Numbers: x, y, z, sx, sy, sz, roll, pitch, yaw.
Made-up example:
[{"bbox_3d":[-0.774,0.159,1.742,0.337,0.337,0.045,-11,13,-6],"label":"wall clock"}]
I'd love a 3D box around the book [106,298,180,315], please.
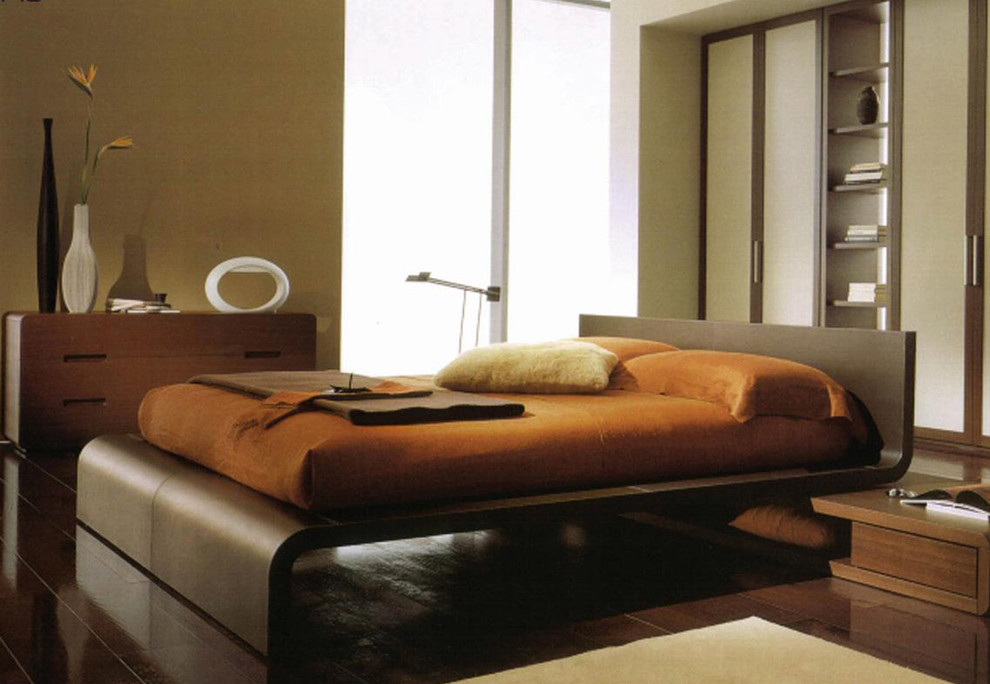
[{"bbox_3d":[-2.306,-0.236,5.367,0.404,0.070,0.539,-2,6,-28],"label":"book"}]

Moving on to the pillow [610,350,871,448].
[{"bbox_3d":[0.980,0.171,3.553,0.523,0.179,0.774,0,3,-33],"label":"pillow"}]

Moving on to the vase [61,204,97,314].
[{"bbox_3d":[-2.616,-0.531,5.157,0.198,0.677,0.327,-2,8,-28],"label":"vase"}]

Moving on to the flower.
[{"bbox_3d":[-2.600,-1.378,5.426,0.390,0.913,0.268,-1,7,-22],"label":"flower"}]

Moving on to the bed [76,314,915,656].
[{"bbox_3d":[-0.017,0.352,3.572,2.995,0.872,1.975,-2,7,-32],"label":"bed"}]
